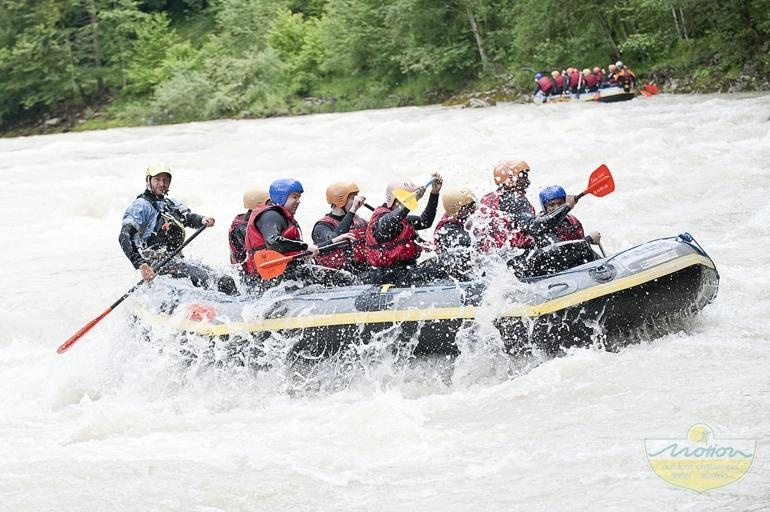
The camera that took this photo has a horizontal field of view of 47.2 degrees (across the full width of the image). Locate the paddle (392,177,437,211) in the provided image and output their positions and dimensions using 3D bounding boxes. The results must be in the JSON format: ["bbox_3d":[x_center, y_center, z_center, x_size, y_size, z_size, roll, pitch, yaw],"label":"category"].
[{"bbox_3d":[0.379,-0.851,12.197,0.693,0.339,0.120,-42,-6,-45],"label":"paddle"}]

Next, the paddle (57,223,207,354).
[{"bbox_3d":[-3.925,0.565,13.693,3.116,0.242,0.213,-38,42,-9],"label":"paddle"}]

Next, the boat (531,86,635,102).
[{"bbox_3d":[6.001,-4.854,26.243,1.807,0.270,0.996,-1,3,44],"label":"boat"}]

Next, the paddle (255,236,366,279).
[{"bbox_3d":[-1.116,-0.063,12.214,1.696,0.460,0.128,-19,10,-3],"label":"paddle"}]

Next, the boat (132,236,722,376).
[{"bbox_3d":[0.731,0.714,12.213,5.731,1.070,2.782,-2,2,5],"label":"boat"}]

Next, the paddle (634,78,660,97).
[{"bbox_3d":[7.795,-4.984,26.348,0.439,0.083,0.607,-50,34,-5],"label":"paddle"}]
